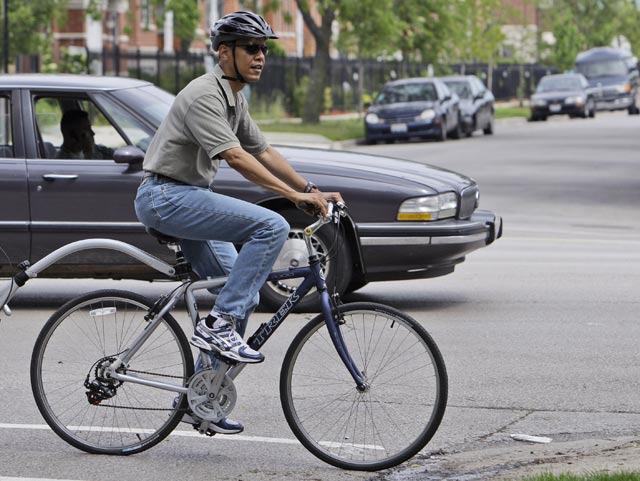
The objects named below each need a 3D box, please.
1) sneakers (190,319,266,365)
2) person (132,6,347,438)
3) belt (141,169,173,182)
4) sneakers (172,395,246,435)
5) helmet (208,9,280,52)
[{"bbox_3d":[-0.496,0.519,5.703,0.452,0.228,0.150,16,18,22],"label":"sneakers"},{"bbox_3d":[-0.522,-0.028,5.859,1.031,2.486,0.643,-2,11,-8],"label":"person"},{"bbox_3d":[-0.916,-0.357,5.811,0.105,0.037,0.086,13,3,12],"label":"belt"},{"bbox_3d":[-0.598,1.004,5.948,0.535,0.194,0.169,3,9,2],"label":"sneakers"},{"bbox_3d":[-0.462,-1.176,5.848,0.383,0.160,0.272,-8,1,21],"label":"helmet"}]
